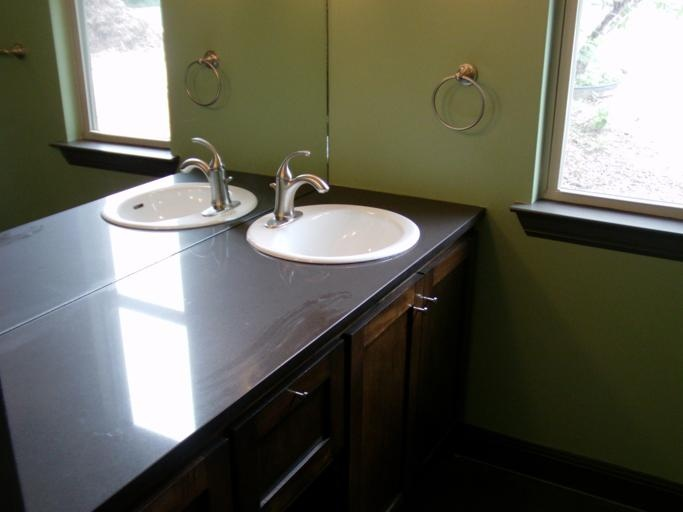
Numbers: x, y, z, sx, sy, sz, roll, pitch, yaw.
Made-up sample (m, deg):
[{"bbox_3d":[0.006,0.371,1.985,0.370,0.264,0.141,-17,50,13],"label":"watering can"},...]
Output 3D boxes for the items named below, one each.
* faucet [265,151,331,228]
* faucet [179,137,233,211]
[{"bbox_3d":[-0.151,-0.216,1.706,0.218,0.236,0.151,12,26,24],"label":"faucet"},{"bbox_3d":[-0.441,-0.263,1.723,0.184,0.222,0.169,9,23,14],"label":"faucet"}]
